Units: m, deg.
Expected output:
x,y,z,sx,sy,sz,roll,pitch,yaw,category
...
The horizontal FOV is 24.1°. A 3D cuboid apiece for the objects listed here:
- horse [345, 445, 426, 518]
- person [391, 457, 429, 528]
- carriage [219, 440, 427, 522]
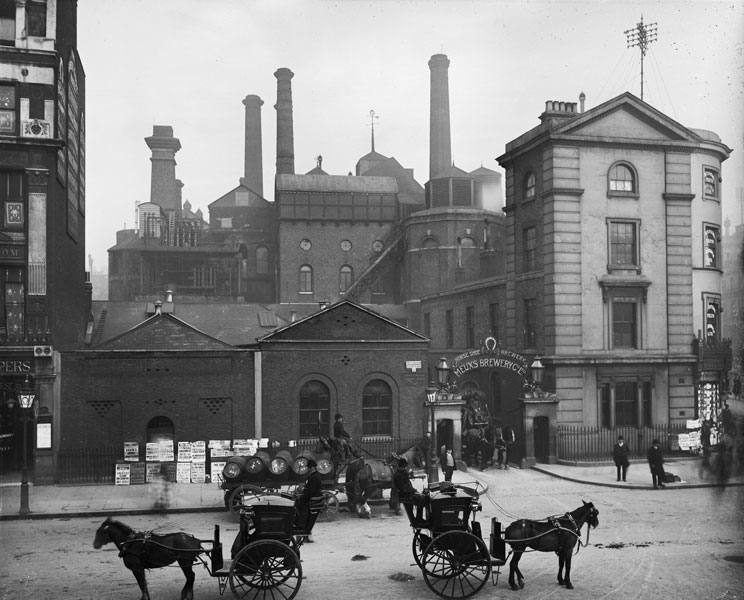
x,y,z,sx,sy,sz,roll,pitch,yaw,category
0.289,7.199,68.865,2.423,2.632,2.529,0,-3,-38,horse
1.522,7.065,64.683,1.244,2.554,1.092,-2,-2,-12,person
-1.741,7.003,70.033,8.587,3.401,2.332,3,12,-17,carriage
